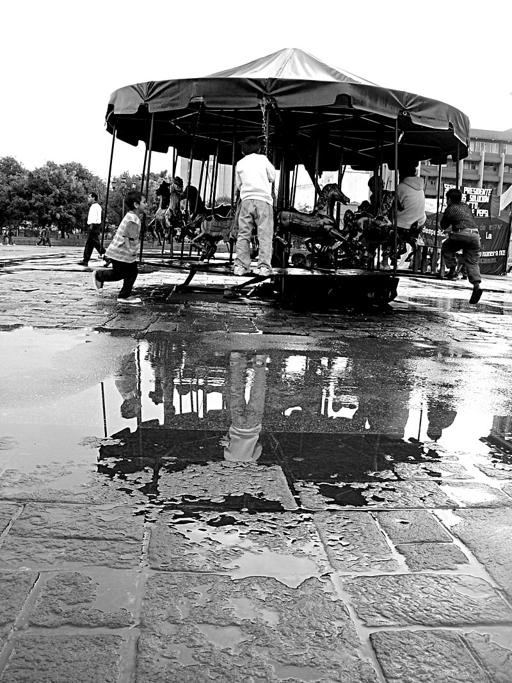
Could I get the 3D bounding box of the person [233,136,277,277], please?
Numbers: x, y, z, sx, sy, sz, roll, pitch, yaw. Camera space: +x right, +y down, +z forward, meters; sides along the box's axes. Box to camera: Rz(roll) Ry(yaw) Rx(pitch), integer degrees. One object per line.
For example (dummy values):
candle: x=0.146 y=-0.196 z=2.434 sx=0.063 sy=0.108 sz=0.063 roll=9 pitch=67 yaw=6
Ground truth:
person: x=-0.037 y=-2.283 z=9.473 sx=0.678 sy=2.163 sz=0.451 roll=2 pitch=3 yaw=-2

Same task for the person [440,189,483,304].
person: x=4.633 y=-2.115 z=11.914 sx=0.894 sy=2.542 sz=1.254 roll=4 pitch=4 yaw=20

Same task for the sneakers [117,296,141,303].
sneakers: x=-2.158 y=-0.697 z=8.906 sx=0.343 sy=0.134 sz=0.188 roll=-3 pitch=12 yaw=4

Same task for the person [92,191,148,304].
person: x=-2.315 y=-1.588 z=9.009 sx=0.692 sy=1.857 sz=0.879 roll=1 pitch=4 yaw=-16

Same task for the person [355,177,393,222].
person: x=2.803 y=-3.321 z=12.228 sx=0.761 sy=0.510 sz=1.387 roll=8 pitch=-27 yaw=8

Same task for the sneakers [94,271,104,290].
sneakers: x=-2.823 y=-1.103 z=9.400 sx=0.109 sy=0.318 sz=0.230 roll=1 pitch=2 yaw=-3

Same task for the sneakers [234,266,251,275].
sneakers: x=-0.291 y=-1.287 z=9.568 sx=0.196 sy=0.174 sz=0.308 roll=3 pitch=9 yaw=10
